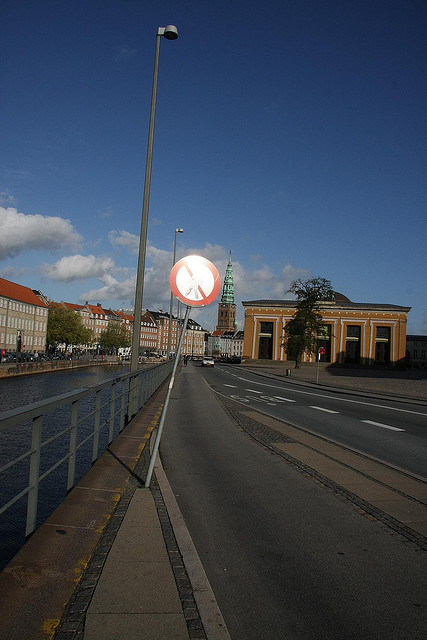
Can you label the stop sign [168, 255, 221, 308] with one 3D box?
[{"bbox_3d":[-0.221,-0.467,4.971,0.581,0.685,0.056,2,32,3],"label":"stop sign"}]
